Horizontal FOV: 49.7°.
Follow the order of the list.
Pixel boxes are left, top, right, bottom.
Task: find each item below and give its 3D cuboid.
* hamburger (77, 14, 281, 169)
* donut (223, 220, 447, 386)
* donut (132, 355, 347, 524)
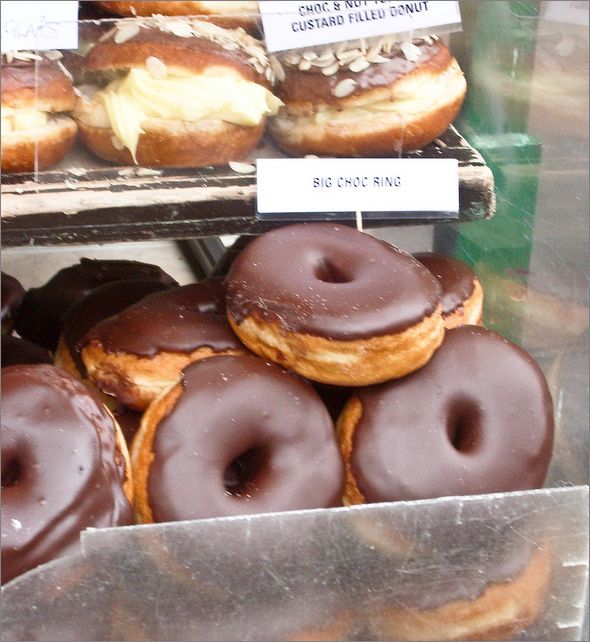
[{"bbox_3d":[-0.121,-0.233,0.654,0.207,0.141,0.086,-7,43,1],"label":"hamburger"},{"bbox_3d":[0.039,-0.034,0.693,0.243,0.075,0.200,18,43,17],"label":"donut"},{"bbox_3d":[-0.061,0.115,0.615,0.198,0.095,0.163,-9,40,-2],"label":"donut"}]
